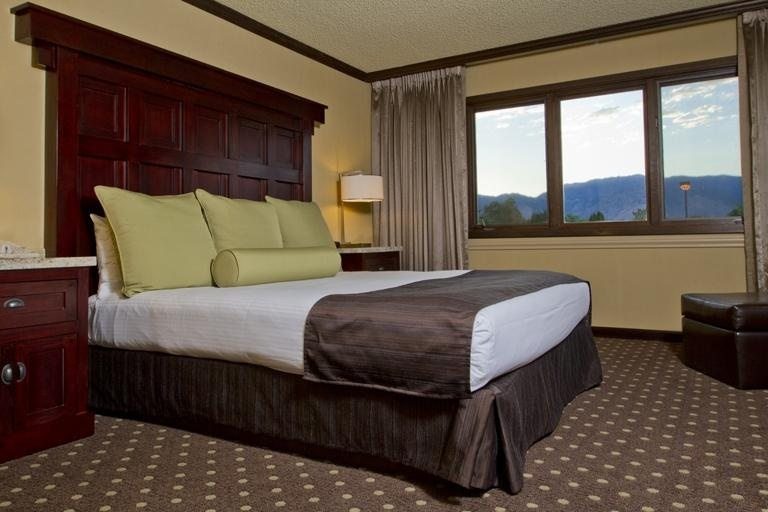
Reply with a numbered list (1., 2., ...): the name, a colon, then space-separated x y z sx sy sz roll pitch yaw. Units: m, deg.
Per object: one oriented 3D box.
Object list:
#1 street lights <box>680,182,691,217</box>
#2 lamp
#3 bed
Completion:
1. street lights: 3.082 -0.601 5.406 0.112 0.356 0.103 6 14 29
2. lamp: -0.299 -0.537 5.892 0.581 0.868 0.464 -2 3 -3
3. bed: -0.246 0.591 3.178 2.687 0.896 1.220 3 12 17
